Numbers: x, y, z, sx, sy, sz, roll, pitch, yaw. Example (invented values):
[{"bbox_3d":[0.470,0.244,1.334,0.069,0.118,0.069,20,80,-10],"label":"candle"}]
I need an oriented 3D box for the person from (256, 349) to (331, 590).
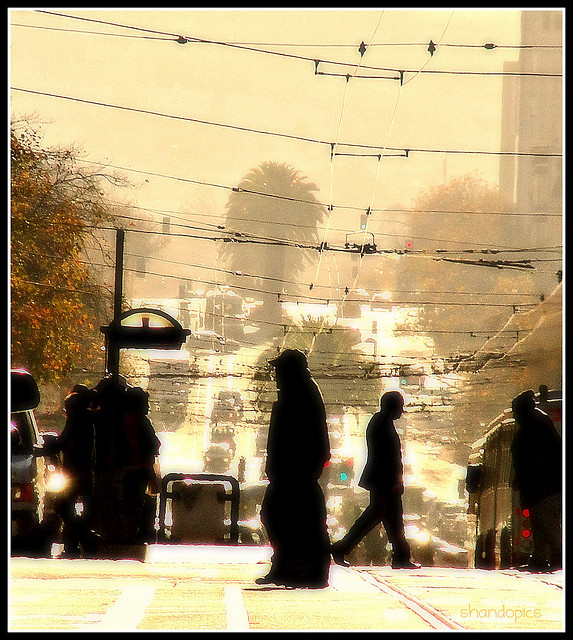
[{"bbox_3d":[0.083,1.521,13.280,0.734,2.429,0.465,0,-8,1],"label":"person"}]

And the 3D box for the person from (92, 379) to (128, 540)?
[{"bbox_3d":[-1.991,1.595,14.668,0.399,1.746,0.292,1,-8,-9],"label":"person"}]
